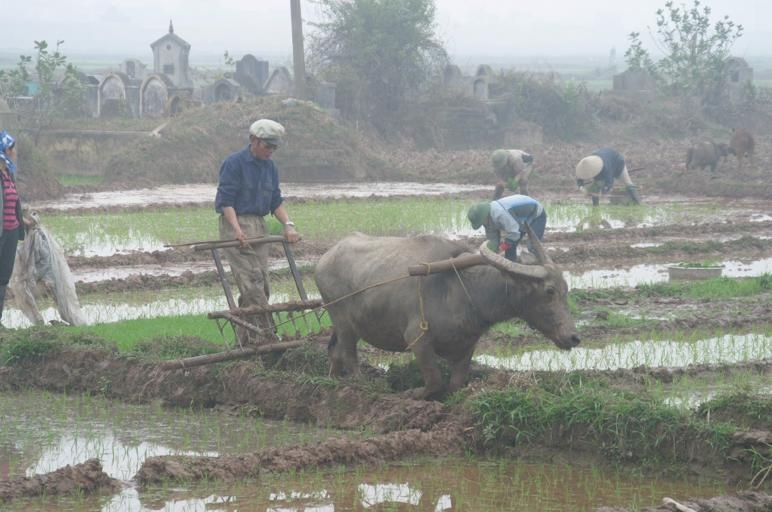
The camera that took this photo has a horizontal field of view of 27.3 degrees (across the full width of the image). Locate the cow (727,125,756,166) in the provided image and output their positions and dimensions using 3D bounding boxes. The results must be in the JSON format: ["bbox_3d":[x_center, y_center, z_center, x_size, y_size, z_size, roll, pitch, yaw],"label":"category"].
[{"bbox_3d":[13.604,-4.226,60.360,0.861,1.138,4.107,-2,7,15],"label":"cow"}]

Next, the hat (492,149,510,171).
[{"bbox_3d":[3.333,-2.774,45.993,0.451,0.576,0.602,-2,7,10],"label":"hat"}]

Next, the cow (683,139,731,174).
[{"bbox_3d":[11.831,-3.652,58.184,1.395,1.009,1.601,0,8,25],"label":"cow"}]

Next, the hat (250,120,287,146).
[{"bbox_3d":[-2.904,-3.021,38.924,0.632,0.646,0.677,2,9,40],"label":"hat"}]
